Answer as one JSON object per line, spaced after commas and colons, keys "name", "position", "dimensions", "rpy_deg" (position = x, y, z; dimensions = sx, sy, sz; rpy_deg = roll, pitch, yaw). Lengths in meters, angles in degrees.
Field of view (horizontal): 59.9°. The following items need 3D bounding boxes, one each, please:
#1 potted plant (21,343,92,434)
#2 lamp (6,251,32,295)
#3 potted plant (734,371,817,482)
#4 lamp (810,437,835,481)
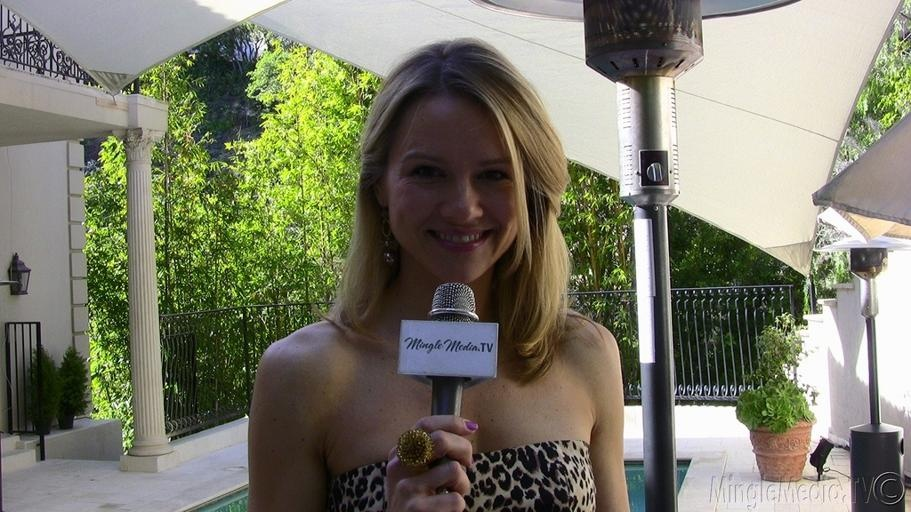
{"name": "potted plant", "position": [-6.919, 2.306, 13.594], "dimensions": [0.825, 1.798, 1.445], "rpy_deg": [-2, -3, 31]}
{"name": "lamp", "position": [-7.520, 0.315, 13.614], "dimensions": [0.335, 0.722, 0.463], "rpy_deg": [2, -5, -29]}
{"name": "potted plant", "position": [4.473, 2.438, 11.016], "dimensions": [0.983, 1.373, 0.384], "rpy_deg": [1, -4, -10]}
{"name": "lamp", "position": [5.160, 2.814, 11.137], "dimensions": [0.290, 0.560, 0.755], "rpy_deg": [-2, -5, 26]}
